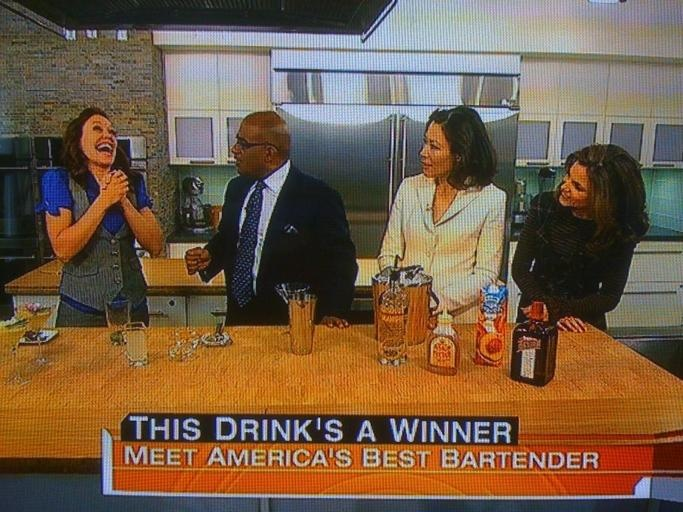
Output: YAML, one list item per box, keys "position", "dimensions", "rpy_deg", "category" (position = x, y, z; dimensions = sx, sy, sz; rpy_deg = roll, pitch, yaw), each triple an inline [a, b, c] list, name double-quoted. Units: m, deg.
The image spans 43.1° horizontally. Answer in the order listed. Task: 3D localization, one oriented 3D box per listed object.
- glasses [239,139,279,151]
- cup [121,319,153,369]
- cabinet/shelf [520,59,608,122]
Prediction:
- position: [-0.470, -0.618, 4.784]
  dimensions: [0.251, 0.084, 0.050]
  rpy_deg: [1, 11, 9]
  category: "glasses"
- position: [-0.959, 0.380, 3.988]
  dimensions: [0.097, 0.234, 0.097]
  rpy_deg: [0, 4, 0]
  category: "cup"
- position: [1.508, -1.136, 5.936]
  dimensions: [0.522, 0.455, 0.134]
  rpy_deg: [2, 4, -7]
  category: "cabinet/shelf"
